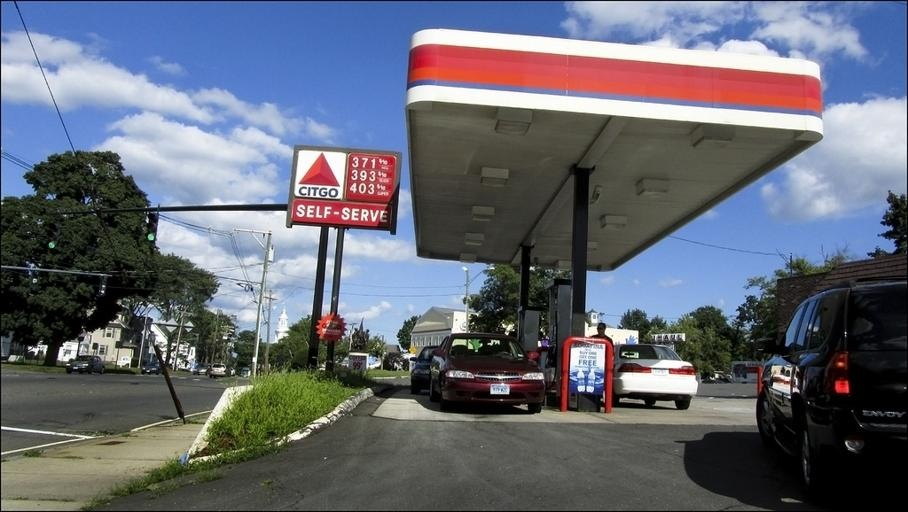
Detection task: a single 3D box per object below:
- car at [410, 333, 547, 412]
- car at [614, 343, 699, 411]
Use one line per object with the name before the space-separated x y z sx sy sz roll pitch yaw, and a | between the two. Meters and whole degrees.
car | 0.862 3.284 18.617 2.630 2.172 2.681 0 -5 -14
car | 5.737 3.430 19.181 1.362 1.021 3.179 0 -6 0
